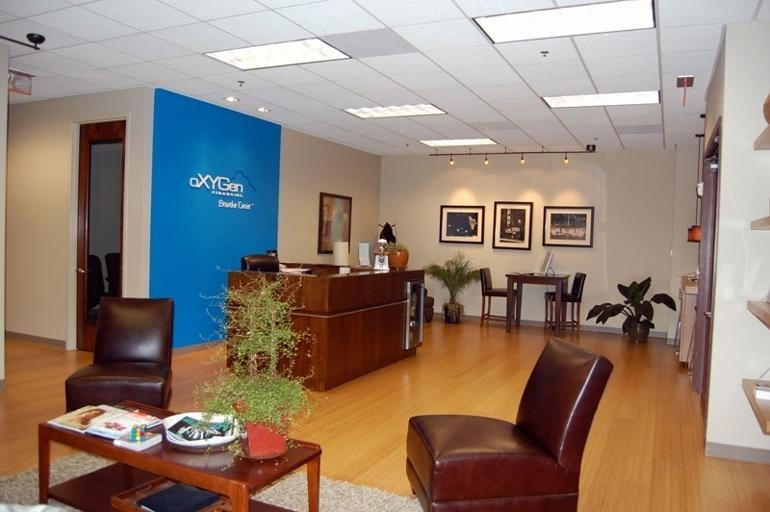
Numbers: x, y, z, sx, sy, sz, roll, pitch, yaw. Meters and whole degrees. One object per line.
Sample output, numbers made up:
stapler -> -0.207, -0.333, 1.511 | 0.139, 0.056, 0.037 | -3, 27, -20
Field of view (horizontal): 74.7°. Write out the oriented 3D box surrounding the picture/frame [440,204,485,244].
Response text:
picture/frame -> 1.743, -0.707, 11.089 | 0.849, 0.726, 0.062 | 1, -1, 25

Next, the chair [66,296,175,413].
chair -> -2.492, 0.952, 5.215 | 1.016, 1.364, 1.144 | 1, -5, -5

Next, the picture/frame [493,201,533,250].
picture/frame -> 2.758, -0.657, 10.713 | 0.981, 1.227, 0.083 | 2, 2, 23

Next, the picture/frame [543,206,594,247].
picture/frame -> 3.802, -0.612, 10.335 | 0.828, 0.730, 0.058 | 1, 4, 19

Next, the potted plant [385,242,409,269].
potted plant -> 0.195, 0.005, 7.921 | 0.360, 0.428, 0.394 | -1, 0, 18

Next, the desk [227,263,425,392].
desk -> -0.887, 0.889, 6.811 | 1.470, 1.179, 2.248 | 1, 1, 27

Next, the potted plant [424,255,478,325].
potted plant -> 1.213, 0.727, 11.393 | 1.442, 1.632, 1.313 | 0, 3, -6

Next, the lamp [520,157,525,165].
lamp -> 2.863, -1.979, 10.488 | 0.107, 0.146, 0.264 | 2, 3, 20

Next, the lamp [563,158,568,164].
lamp -> 3.671, -1.928, 10.253 | 0.103, 0.141, 0.162 | 2, 3, 26

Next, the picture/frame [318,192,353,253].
picture/frame -> -1.029, -0.671, 10.168 | 0.077, 1.239, 1.046 | 1, 13, 27

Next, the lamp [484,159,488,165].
lamp -> 2.167, -2.008, 10.759 | 0.112, 0.106, 0.277 | 1, 3, 9

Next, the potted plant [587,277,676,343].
potted plant -> 4.681, 1.002, 9.517 | 1.244, 0.906, 1.268 | -1, 3, 22
